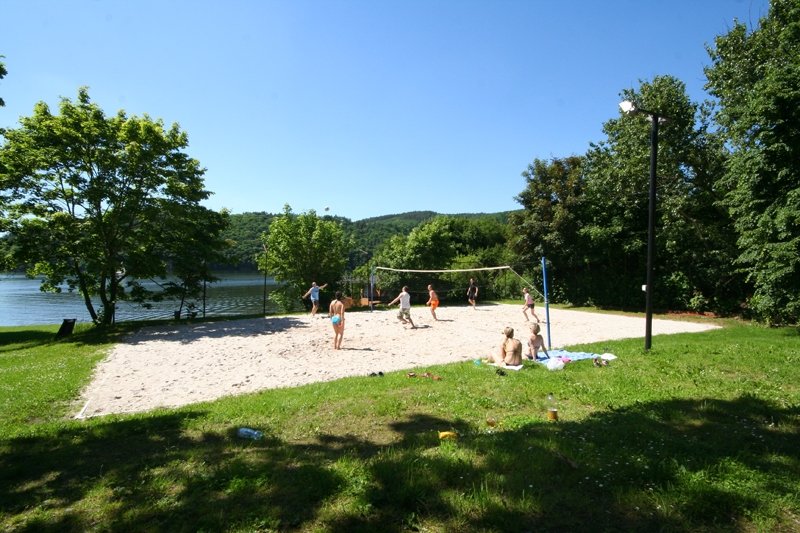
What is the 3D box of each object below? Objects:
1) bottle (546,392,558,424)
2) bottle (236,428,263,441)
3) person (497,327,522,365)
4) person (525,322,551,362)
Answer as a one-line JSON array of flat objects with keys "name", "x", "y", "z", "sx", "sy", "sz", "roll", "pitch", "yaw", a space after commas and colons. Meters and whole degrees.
[{"name": "bottle", "x": 4.235, "y": 4.022, "z": 15.375, "sx": 0.400, "sy": 0.631, "sz": 0.321, "roll": -4, "pitch": 8, "yaw": 28}, {"name": "bottle", "x": -3.915, "y": 4.416, "z": 14.434, "sx": 0.469, "sy": 0.133, "sz": 0.289, "roll": 8, "pitch": 15, "yaw": 6}, {"name": "person", "x": 3.750, "y": 2.792, "z": 18.790, "sx": 1.005, "sy": 1.285, "sz": 0.930, "roll": -1, "pitch": -1, "yaw": 32}, {"name": "person", "x": 4.984, "y": 2.735, "z": 19.852, "sx": 0.552, "sy": 0.907, "sz": 1.710, "roll": -2, "pitch": 10, "yaw": 6}]
